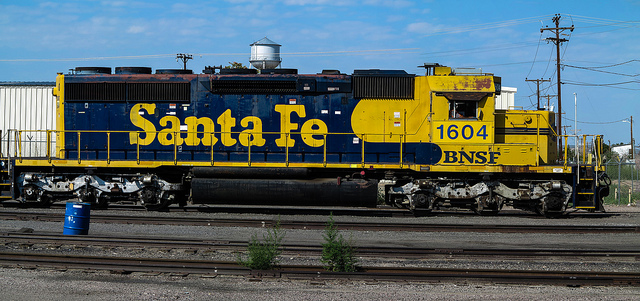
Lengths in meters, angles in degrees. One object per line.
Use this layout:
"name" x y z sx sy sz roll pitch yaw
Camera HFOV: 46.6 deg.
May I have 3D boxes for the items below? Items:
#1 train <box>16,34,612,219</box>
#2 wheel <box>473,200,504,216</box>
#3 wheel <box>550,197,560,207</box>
"train" 4.488 -0.638 40.074 44.589 8.952 8.748 0 1 0
"wheel" 8.018 2.723 35.375 1.426 0.702 0.865 0 -1 8
"wheel" 10.992 2.376 34.821 0.513 0.355 0.098 -5 -6 3
